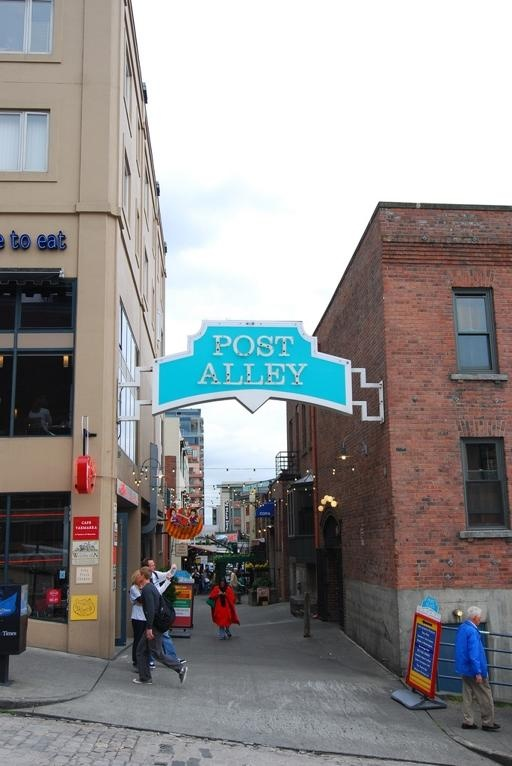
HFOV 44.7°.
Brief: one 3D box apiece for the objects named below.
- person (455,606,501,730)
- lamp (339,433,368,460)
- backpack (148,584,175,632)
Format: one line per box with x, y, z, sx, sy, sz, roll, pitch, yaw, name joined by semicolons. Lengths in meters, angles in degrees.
2.736;3.546;7.798;0.437;1.470;1.455;-5;-13;19;person
2.327;1.522;14.975;0.310;0.501;1.093;2;-1;-3;lamp
-1.275;3.214;8.636;0.251;0.571;0.554;0;-12;-5;backpack
